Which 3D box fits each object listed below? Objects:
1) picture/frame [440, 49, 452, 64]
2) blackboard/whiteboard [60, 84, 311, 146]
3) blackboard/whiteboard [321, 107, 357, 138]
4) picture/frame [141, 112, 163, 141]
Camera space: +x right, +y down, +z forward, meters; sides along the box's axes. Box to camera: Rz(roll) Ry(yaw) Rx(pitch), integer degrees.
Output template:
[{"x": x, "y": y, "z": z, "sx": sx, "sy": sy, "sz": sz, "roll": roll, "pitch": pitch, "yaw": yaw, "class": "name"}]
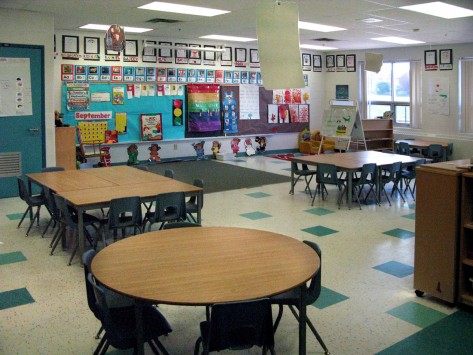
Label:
[{"x": 6.802, "y": -3.915, "z": 12.273, "sx": 0.042, "sy": 0.532, "sz": 0.444, "roll": -9, "pitch": 13, "yaw": -41, "class": "picture/frame"}, {"x": -1.253, "y": -2.238, "z": 13.033, "sx": 7.337, "sy": 1.806, "sz": 0.285, "roll": -7, "pitch": 12, "yaw": -29, "class": "blackboard/whiteboard"}, {"x": 3.036, "y": -1.749, "z": 11.476, "sx": 1.164, "sy": 1.124, "sz": 0.442, "roll": 3, "pitch": 21, "yaw": -19, "class": "blackboard/whiteboard"}, {"x": -2.801, "y": -1.661, "z": 12.254, "sx": 0.845, "sy": 0.973, "sz": 0.092, "roll": -6, "pitch": 7, "yaw": -37, "class": "picture/frame"}]
